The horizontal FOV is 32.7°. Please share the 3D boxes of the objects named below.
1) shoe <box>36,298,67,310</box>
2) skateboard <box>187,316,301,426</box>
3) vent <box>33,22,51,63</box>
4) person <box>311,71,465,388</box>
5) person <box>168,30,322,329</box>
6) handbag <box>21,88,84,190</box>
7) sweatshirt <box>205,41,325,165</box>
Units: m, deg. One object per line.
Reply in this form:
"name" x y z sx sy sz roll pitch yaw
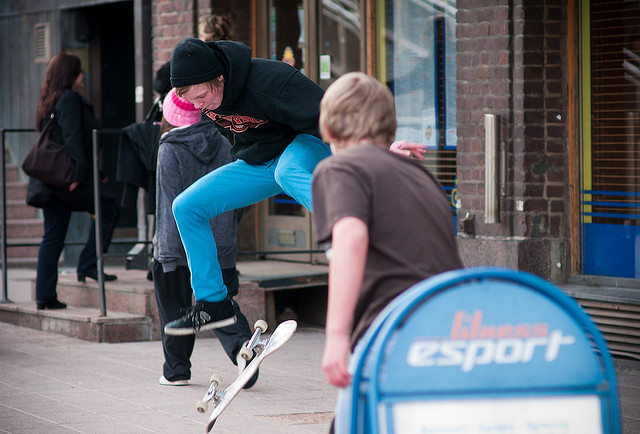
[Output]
"shoe" -2.774 0.882 11.297 0.287 0.127 0.109 -3 3 -17
"skateboard" -0.612 1.259 8.623 0.214 0.458 1.596 21 -47 -19
"vent" -3.775 -2.370 14.778 0.030 0.294 0.249 8 15 38
"person" 0.355 0.042 6.688 0.881 1.794 0.667 -5 12 -20
"person" -0.597 -0.195 8.419 1.222 2.340 0.654 0 12 5
"handbag" -2.817 -0.892 11.155 0.581 1.180 0.547 3 0 1
"sweatshirt" -0.451 -0.858 8.559 0.587 0.789 1.375 -38 11 -30
